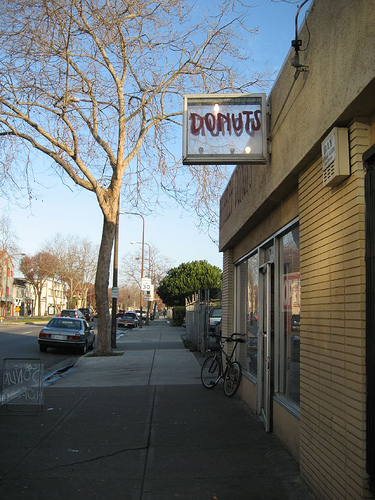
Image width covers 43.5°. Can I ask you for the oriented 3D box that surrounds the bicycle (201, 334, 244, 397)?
[{"bbox_3d":[0.659,2.313,9.050,0.615,0.795,1.114,17,-8,-15],"label":"bicycle"}]

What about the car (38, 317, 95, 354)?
[{"bbox_3d":[-4.816,3.393,18.561,1.685,1.399,2.208,0,-8,2],"label":"car"}]

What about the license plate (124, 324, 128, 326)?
[{"bbox_3d":[-5.504,6.715,41.574,0.136,0.143,0.216,2,1,-29],"label":"license plate"}]

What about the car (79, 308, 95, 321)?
[{"bbox_3d":[-11.655,7.550,54.352,0.949,1.147,2.352,1,-1,-2],"label":"car"}]

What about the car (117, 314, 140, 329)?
[{"bbox_3d":[-5.359,6.430,42.186,1.356,1.189,1.940,-1,-8,8],"label":"car"}]

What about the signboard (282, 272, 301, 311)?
[{"bbox_3d":[1.175,0.496,5.398,0.046,0.427,0.478,0,-1,42],"label":"signboard"}]
